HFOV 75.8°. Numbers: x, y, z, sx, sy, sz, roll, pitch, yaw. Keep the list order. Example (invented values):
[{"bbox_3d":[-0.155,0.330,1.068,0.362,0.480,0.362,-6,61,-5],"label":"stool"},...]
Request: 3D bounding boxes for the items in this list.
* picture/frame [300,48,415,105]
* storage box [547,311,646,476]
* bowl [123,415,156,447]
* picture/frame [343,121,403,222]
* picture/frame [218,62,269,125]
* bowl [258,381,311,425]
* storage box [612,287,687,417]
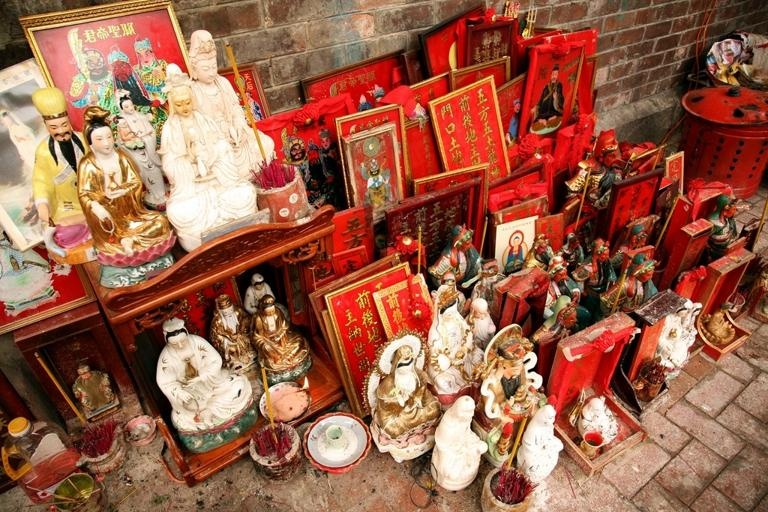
[{"bbox_3d":[-0.290,-1.748,4.797,0.713,0.416,0.028,-24,38,-15],"label":"picture/frame"},{"bbox_3d":[1.780,1.186,4.158,0.712,1.027,0.645,-31,53,-21],"label":"storage box"},{"bbox_3d":[-2.147,1.537,4.364,0.257,0.152,0.229,-21,37,-21],"label":"bowl"},{"bbox_3d":[-0.114,-0.818,4.614,0.651,1.025,0.136,-25,38,-23],"label":"picture/frame"},{"bbox_3d":[-1.234,-1.453,4.385,0.340,0.453,0.287,-12,35,-9],"label":"picture/frame"},{"bbox_3d":[-0.831,1.272,4.405,0.349,0.190,0.377,-4,34,3],"label":"bowl"},{"bbox_3d":[2.331,0.847,4.368,0.629,1.056,0.371,-33,49,-28],"label":"storage box"}]
